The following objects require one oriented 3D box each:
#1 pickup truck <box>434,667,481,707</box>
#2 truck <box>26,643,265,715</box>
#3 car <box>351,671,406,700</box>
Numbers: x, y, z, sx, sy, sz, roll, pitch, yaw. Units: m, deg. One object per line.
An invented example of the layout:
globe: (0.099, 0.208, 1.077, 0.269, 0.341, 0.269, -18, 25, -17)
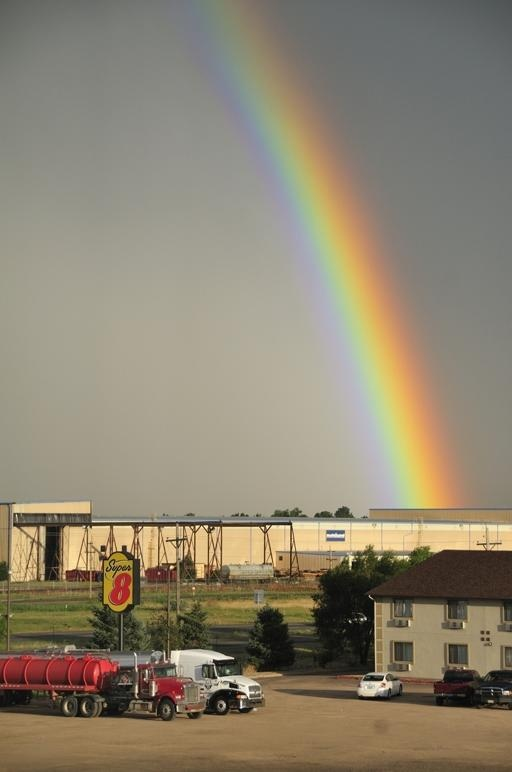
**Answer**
pickup truck: (8.650, 12.704, 62.007, 1.906, 1.534, 2.226, -1, -13, 9)
truck: (-4.691, 11.877, 58.868, 8.892, 2.866, 2.656, -3, -2, 13)
car: (5.511, 13.070, 64.170, 1.199, 1.212, 2.248, -7, -15, 32)
